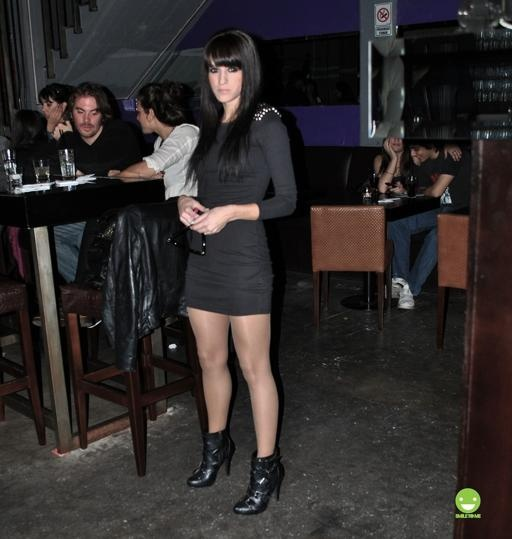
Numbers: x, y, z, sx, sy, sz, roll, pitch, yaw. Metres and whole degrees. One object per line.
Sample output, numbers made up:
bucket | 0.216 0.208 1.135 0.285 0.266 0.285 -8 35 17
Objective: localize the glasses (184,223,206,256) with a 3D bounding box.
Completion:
glasses | -0.206 -0.115 1.712 0.034 0.118 0.122 -9 16 -44

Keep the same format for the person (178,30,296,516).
person | -0.086 0.079 1.751 0.461 1.836 0.350 10 19 37

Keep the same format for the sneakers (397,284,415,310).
sneakers | 1.350 0.256 4.097 0.101 0.124 0.299 0 10 10

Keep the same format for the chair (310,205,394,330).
chair | 0.838 -0.061 3.971 0.781 1.006 0.776 -14 17 -40

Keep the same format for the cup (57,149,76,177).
cup | -1.067 -0.596 2.588 0.077 0.160 0.223 -8 15 -21

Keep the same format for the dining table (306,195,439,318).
dining table | 0.888 -0.208 3.831 0.956 0.785 0.972 1 22 6

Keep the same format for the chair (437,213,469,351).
chair | 1.375 0.085 3.241 0.203 0.957 0.258 4 16 21
